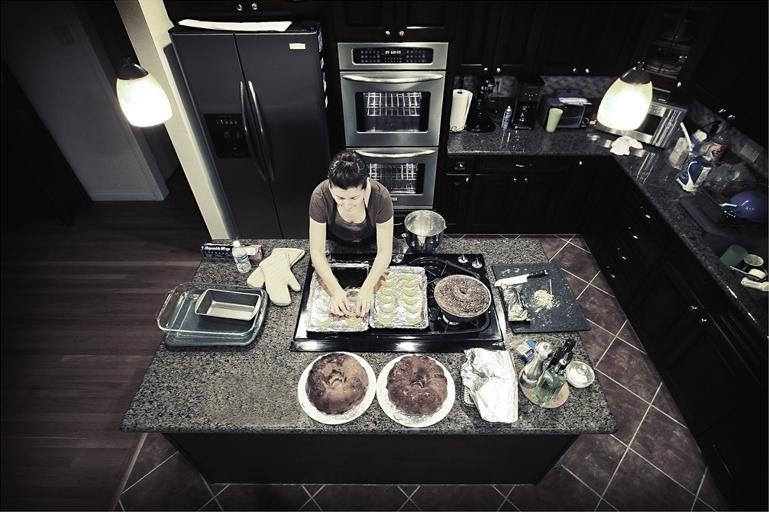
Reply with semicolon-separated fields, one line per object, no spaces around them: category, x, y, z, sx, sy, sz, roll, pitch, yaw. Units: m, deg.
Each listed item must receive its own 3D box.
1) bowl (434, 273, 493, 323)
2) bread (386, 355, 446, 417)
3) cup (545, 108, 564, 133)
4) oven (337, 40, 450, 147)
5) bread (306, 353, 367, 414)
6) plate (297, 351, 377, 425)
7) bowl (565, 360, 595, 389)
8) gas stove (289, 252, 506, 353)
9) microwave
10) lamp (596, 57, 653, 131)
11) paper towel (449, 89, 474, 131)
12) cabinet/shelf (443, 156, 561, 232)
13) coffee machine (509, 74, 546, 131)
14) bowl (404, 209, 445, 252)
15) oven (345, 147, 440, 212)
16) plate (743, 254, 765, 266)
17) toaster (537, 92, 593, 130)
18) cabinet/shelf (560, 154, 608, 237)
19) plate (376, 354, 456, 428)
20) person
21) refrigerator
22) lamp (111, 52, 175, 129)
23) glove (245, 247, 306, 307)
bowl;0.587;0.302;3.433;0.355;0.145;0.345;1;50;-1
bread;0.221;0.884;3.162;0.387;0.159;0.373;18;52;12
cup;1.863;-1.476;5.036;0.159;0.255;0.079;-6;41;-8
oven;0.088;-1.732;4.796;0.932;0.874;0.999;-1;42;-1
bread;-0.322;0.874;3.203;0.406;0.259;0.341;10;40;10
plate;-0.318;0.890;3.165;0.502;0.131;0.482;13;57;8
bowl;1.390;0.843;3.285;0.166;0.098;0.158;-3;53;4
gas stove;0.095;0.377;3.478;0.990;0.275;0.352;1;32;-12
microwave;2.752;-1.372;4.898;0.586;0.492;0.882;-11;33;-24
lamp;1.962;-1.261;3.753;0.319;0.447;0.231;-3;40;-5
paper towel;0.835;-1.570;5.018;0.215;0.402;0.288;7;40;7
cabinet/shelf;1.275;-0.668;5.167;1.225;0.684;0.697;-1;29;-9
coffee machine;1.562;-1.583;5.078;0.290;0.498;0.350;11;6;15
bowl;0.327;-0.211;3.776;0.314;0.252;0.286;1;39;-1
oven;0.165;-0.957;5.262;0.837;0.781;0.549;-1;48;3
plate;3.086;0.034;3.854;0.095;0.084;0.118;13;38;25
toaster;1.983;-1.580;5.177;0.597;0.374;0.461;0;29;-7
cabinet/shelf;2.135;-0.719;5.212;0.416;0.743;0.424;0;31;0
plate;0.204;0.925;3.157;0.502;0.189;0.477;-1;47;-2
person;-0.253;-0.071;3.705;0.661;1.376;0.661;2;46;-7
refrigerator;-1.235;-1.292;5.084;1.159;2.198;1.170;0;44;1
lamp;-1.980;-1.334;3.879;0.408;0.542;0.394;-8;4;2
glove;-0.848;0.189;3.686;0.478;0.396;0.404;-8;32;-16
